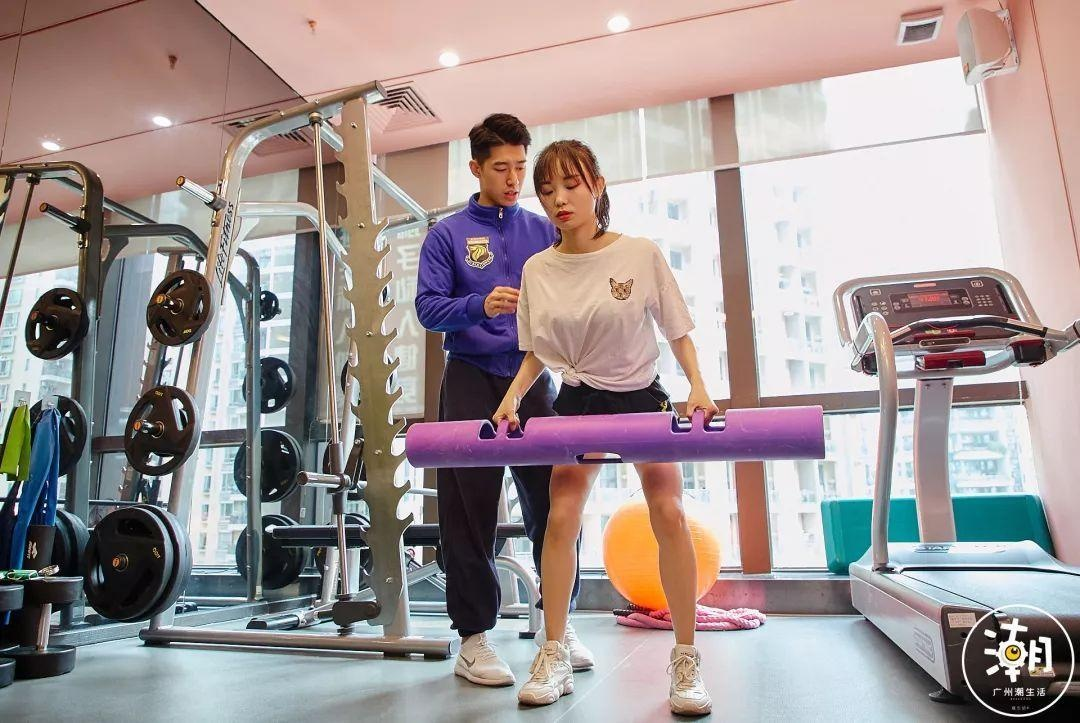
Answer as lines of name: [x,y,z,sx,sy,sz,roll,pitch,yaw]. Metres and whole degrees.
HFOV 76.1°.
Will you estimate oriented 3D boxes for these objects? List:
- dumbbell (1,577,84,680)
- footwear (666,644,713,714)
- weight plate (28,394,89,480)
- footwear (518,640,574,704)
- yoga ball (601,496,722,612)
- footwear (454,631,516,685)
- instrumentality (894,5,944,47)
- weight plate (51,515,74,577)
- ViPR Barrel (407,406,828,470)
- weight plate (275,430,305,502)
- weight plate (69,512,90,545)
dumbbell: [-2.082,1.117,2.998,0.305,0.387,0.289,4,1,5]
footwear: [0.515,1.100,2.382,0.143,0.223,0.115,-3,-10,12]
weight plate: [-2.274,0.361,3.351,0.117,0.378,0.138,-1,-10,3]
footwear: [0.034,1.128,2.452,0.113,0.176,0.298,-8,-21,22]
yoga ball: [0.622,1.159,4.180,0.762,0.787,0.949,-1,-10,-1]
footwear: [-0.230,1.179,2.733,0.145,0.161,0.322,9,-11,-40]
instrumentality: [2.542,-2.233,4.612,0.219,0.135,0.234,-4,-15,22]
weight plate: [-2.233,0.858,3.236,0.081,0.294,0.057,8,-13,-43]
ViPR Barrel: [0.202,0.237,2.148,1.287,0.152,0.084,-2,-10,10]
weight plate: [-1.597,0.659,4.385,0.115,0.484,0.473,2,-10,-44]
weight plate: [-2.209,0.807,3.306,0.089,0.117,0.108,-8,7,10]
